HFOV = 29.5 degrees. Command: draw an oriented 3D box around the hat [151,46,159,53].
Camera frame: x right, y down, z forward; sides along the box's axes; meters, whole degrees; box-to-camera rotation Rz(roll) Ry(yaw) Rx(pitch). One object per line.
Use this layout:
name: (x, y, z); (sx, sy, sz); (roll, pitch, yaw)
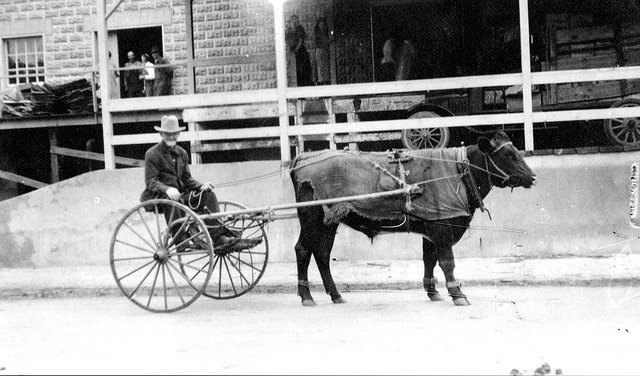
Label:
hat: (-5.043, -4.304, 37.416); (0.179, 0.195, 0.357); (-5, 7, -8)

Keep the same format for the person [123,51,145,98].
person: (-5.773, -3.357, 37.936); (0.641, 1.906, 0.532); (-5, 28, -8)

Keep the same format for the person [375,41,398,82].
person: (1.952, -3.751, 35.522); (0.378, 1.130, 0.729); (-8, 8, -34)

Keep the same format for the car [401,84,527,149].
car: (4.021, -2.052, 33.723); (3.067, 1.484, 1.778); (-1, 2, 3)

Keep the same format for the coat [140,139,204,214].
coat: (-3.556, -0.288, 29.310); (1.456, 1.727, 1.305); (7, 7, 33)

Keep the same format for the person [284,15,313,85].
person: (-0.615, -4.076, 35.733); (0.615, 2.018, 0.802); (-8, 8, -29)
